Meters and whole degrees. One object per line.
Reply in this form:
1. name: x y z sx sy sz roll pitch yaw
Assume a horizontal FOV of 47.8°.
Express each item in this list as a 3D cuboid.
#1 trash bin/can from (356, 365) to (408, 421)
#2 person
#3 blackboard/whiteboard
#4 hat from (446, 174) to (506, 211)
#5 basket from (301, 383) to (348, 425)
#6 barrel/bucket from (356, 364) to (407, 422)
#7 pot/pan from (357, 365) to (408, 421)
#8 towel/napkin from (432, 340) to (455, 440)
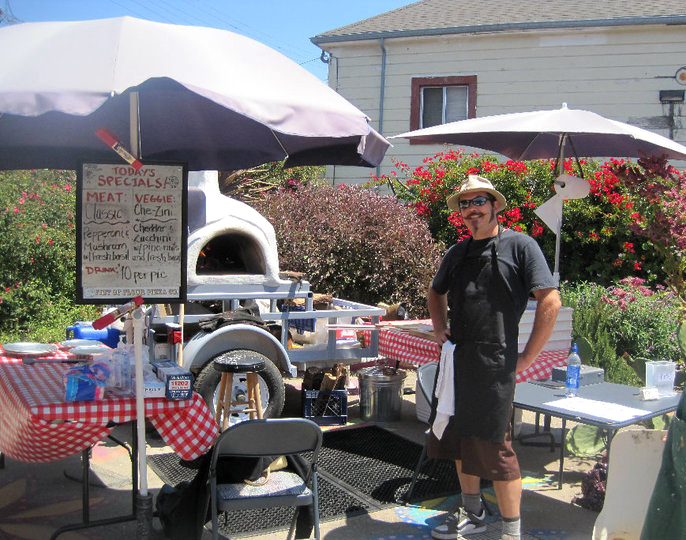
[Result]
1. trash bin/can: 0.389 1.307 8.116 0.449 0.421 0.506 0 -2 -5
2. person: 1.020 0.603 5.456 0.910 2.511 0.464 2 3 21
3. blackboard/whiteboard: -1.349 -0.234 4.972 0.667 0.895 0.149 1 3 -21
4. hat: 0.998 -0.589 5.617 0.412 0.304 0.260 8 14 42
5. basket: -0.202 1.349 8.000 0.415 0.361 0.475 -1 11 -19
6. barrel/bucket: 0.385 1.307 8.112 0.455 0.417 0.514 0 -2 -4
7. pot/pan: 0.386 1.303 8.109 0.442 0.404 0.503 0 -2 -6
8. towel/napkin: 0.721 0.861 5.449 0.189 0.607 0.230 7 13 31
